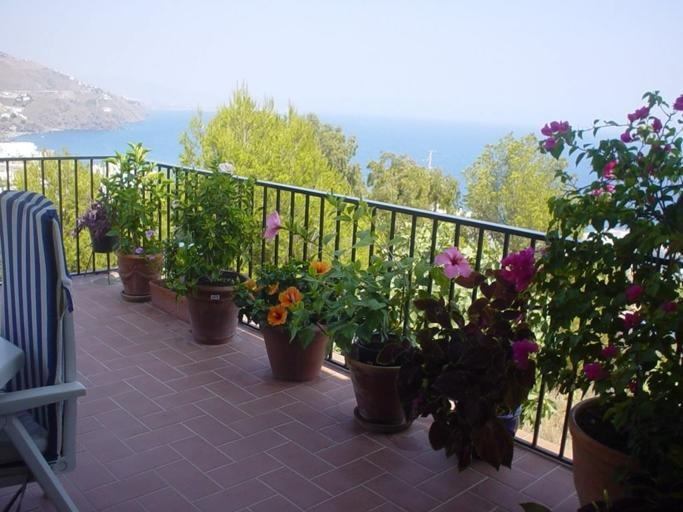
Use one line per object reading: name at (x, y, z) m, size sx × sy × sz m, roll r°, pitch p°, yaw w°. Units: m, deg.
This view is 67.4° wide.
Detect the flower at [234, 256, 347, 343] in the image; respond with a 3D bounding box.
flower at (-0.379, 0.271, 3.219) m, size 0.532 × 0.363 × 0.519 m, roll -6°, pitch 13°, yaw 9°

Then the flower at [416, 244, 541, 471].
flower at (0.611, 0.471, 2.373) m, size 0.636 × 0.912 × 0.648 m, roll -9°, pitch 6°, yaw -9°

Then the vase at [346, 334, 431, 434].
vase at (0.224, 0.731, 2.842) m, size 0.383 × 0.370 × 0.417 m, roll -3°, pitch -22°, yaw 2°

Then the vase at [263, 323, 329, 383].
vase at (-0.276, 0.569, 3.238) m, size 0.356 × 0.290 × 0.379 m, roll 4°, pitch 5°, yaw 17°

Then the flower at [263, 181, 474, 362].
flower at (0.092, 0.109, 2.798) m, size 1.155 × 0.984 × 0.664 m, roll 13°, pitch 18°, yaw 8°

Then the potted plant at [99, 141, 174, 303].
potted plant at (-1.925, -0.226, 4.519) m, size 0.509 × 1.160 × 0.422 m, roll 0°, pitch -4°, yaw 30°

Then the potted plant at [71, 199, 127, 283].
potted plant at (-2.167, -0.203, 4.728) m, size 0.476 × 0.680 × 0.502 m, roll -6°, pitch 11°, yaw -21°

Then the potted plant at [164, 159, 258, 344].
potted plant at (-0.967, 0.039, 3.857) m, size 0.677 × 1.274 × 0.818 m, roll -5°, pitch 14°, yaw -38°
